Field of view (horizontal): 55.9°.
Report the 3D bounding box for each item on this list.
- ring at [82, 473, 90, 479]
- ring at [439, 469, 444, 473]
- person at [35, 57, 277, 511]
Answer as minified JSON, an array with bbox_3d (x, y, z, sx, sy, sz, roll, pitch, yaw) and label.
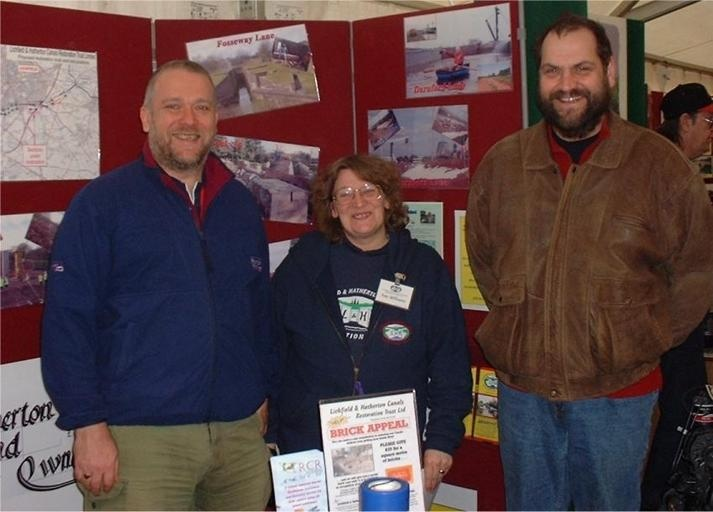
[{"bbox_3d":[-1.092,0.891,2.716,0.031,0.026,0.008,-2,1,-13],"label":"ring"},{"bbox_3d":[0.385,0.984,3.052,0.020,0.017,0.005,0,13,-36],"label":"ring"},{"bbox_3d":[-0.852,0.165,2.950,1.010,2.065,0.413,-7,6,-18],"label":"person"}]
